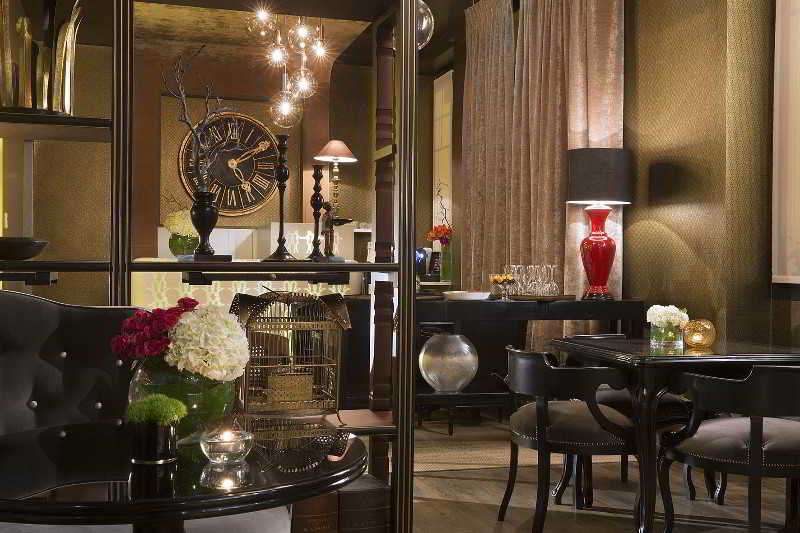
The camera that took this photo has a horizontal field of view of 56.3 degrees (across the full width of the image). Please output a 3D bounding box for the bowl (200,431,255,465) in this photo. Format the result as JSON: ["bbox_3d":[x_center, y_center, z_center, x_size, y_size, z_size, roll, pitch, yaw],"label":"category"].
[{"bbox_3d":[-0.665,0.729,2.924,0.188,0.100,0.198,-2,-6,0],"label":"bowl"}]

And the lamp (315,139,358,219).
[{"bbox_3d":[-0.648,-0.944,7.764,0.329,0.701,0.349,8,12,18],"label":"lamp"}]

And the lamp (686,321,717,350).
[{"bbox_3d":[1.838,0.422,4.556,0.160,0.166,0.164,0,-2,-18],"label":"lamp"}]

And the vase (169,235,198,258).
[{"bbox_3d":[-1.209,-0.074,4.166,0.174,0.132,0.177,2,-3,-19],"label":"vase"}]

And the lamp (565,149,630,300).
[{"bbox_3d":[1.558,-0.332,5.900,0.539,1.178,0.434,-2,5,-18],"label":"lamp"}]

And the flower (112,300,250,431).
[{"bbox_3d":[-0.836,0.402,3.030,0.442,0.499,0.466,-6,19,-35],"label":"flower"}]

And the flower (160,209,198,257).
[{"bbox_3d":[-1.236,-0.170,4.285,0.219,0.258,0.203,7,-1,-2],"label":"flower"}]

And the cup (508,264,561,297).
[{"bbox_3d":[1.077,0.126,5.930,0.301,0.222,0.301,-1,-2,0],"label":"cup"}]

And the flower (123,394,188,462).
[{"bbox_3d":[-0.928,0.603,2.829,0.225,0.249,0.209,3,0,2],"label":"flower"}]

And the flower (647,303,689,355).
[{"bbox_3d":[1.652,0.389,4.554,0.251,0.271,0.260,0,0,-8],"label":"flower"}]

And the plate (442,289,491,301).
[{"bbox_3d":[0.524,0.213,5.952,0.327,0.074,0.838,0,4,3],"label":"plate"}]

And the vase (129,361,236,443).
[{"bbox_3d":[-0.811,0.600,3.004,0.244,0.201,0.272,12,-8,-39],"label":"vase"}]
